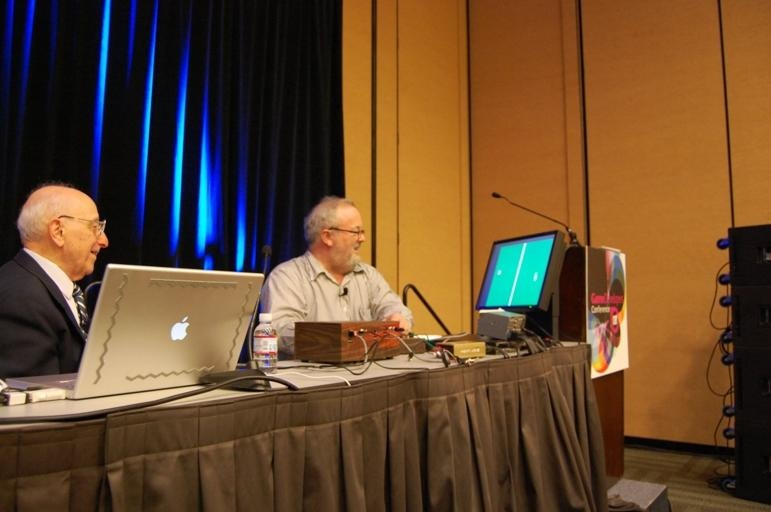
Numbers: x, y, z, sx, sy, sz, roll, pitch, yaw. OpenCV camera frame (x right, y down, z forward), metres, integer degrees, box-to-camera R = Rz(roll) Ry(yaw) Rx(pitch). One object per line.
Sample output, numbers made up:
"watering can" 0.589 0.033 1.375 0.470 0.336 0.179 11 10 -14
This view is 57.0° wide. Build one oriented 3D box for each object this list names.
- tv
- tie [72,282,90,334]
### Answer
"tv" 0.815 0.171 4.129 0.376 0.608 0.556 1 -2 -38
"tie" -1.588 0.279 3.709 0.064 0.235 0.161 -5 -6 11
